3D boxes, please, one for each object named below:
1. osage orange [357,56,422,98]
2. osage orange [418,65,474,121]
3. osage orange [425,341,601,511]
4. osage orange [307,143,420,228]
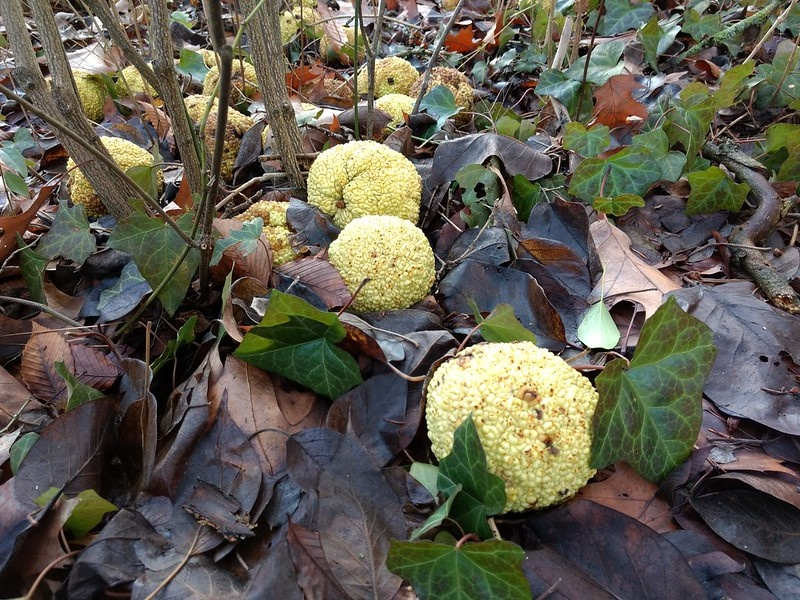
[{"bbox_3d":[-0.050,-1.220,3.298,0.372,0.133,0.411,4,26,-5],"label":"osage orange"},{"bbox_3d":[0.252,-0.932,2.863,0.275,0.227,0.250,9,88,12],"label":"osage orange"},{"bbox_3d":[0.279,0.280,1.644,0.346,0.363,0.421,-31,34,-31],"label":"osage orange"},{"bbox_3d":[-0.100,-0.395,2.255,0.353,0.269,0.289,-18,80,-51],"label":"osage orange"}]
